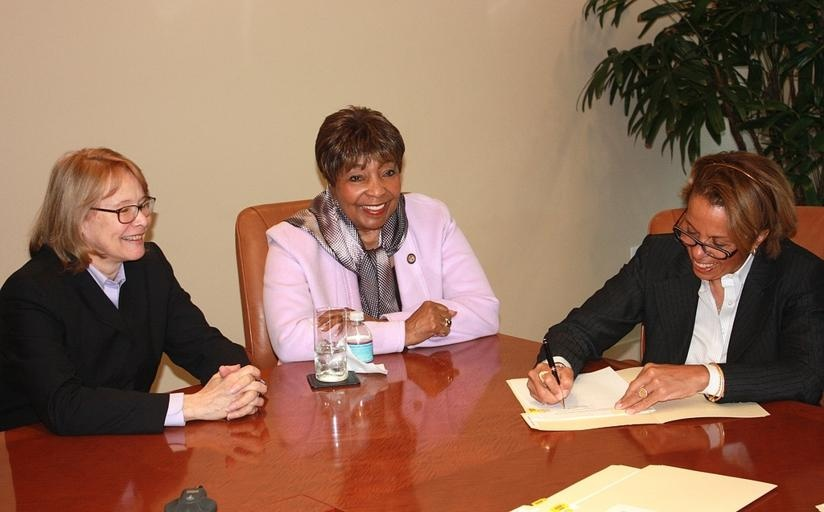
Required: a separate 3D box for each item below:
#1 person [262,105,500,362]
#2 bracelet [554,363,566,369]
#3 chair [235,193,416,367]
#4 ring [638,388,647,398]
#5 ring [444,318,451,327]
[{"bbox_3d":[-0.189,-0.034,2.683,1.183,1.092,0.820,-9,27,-23],"label":"person"},{"bbox_3d":[0.539,0.402,2.109,0.020,0.010,0.027,1,1,-15],"label":"bracelet"},{"bbox_3d":[-0.430,0.094,2.671,0.584,1.026,0.625,-7,8,-36],"label":"chair"},{"bbox_3d":[0.775,0.461,1.943,0.027,0.026,0.007,-9,-11,38],"label":"ring"},{"bbox_3d":[0.153,0.280,2.451,0.010,0.030,0.030,-7,22,29],"label":"ring"}]
